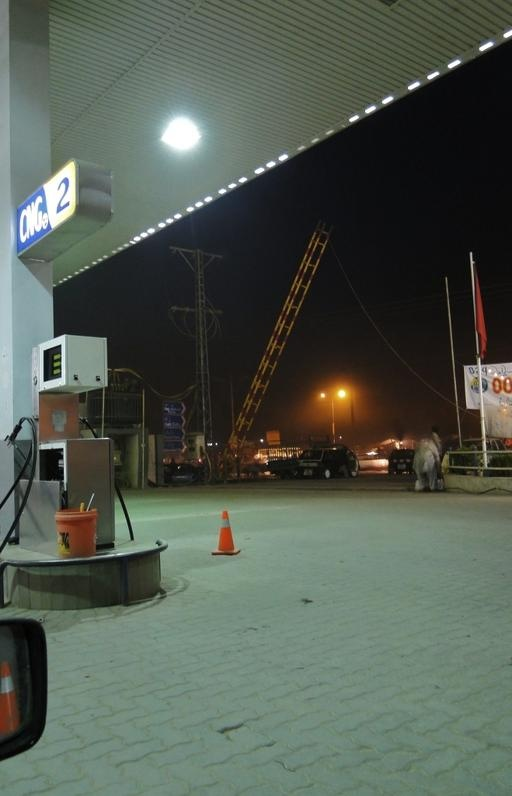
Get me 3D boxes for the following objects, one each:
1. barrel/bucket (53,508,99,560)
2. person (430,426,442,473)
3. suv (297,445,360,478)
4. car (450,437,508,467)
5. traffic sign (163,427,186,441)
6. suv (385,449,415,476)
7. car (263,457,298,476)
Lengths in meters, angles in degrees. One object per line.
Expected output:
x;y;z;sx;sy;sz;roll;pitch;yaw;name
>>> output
-1.575;1.185;5.062;0.370;0.433;0.391;-2;-7;0;barrel/bucket
5.557;1.584;17.537;0.272;1.327;1.516;-3;-6;17;person
4.163;3.562;31.570;4.034;1.720;1.612;4;-8;-43;suv
7.145;1.727;18.067;1.926;1.063;1.148;-3;0;-15;car
-5.726;2.476;39.720;0.613;0.735;1.917;-7;-8;43;traffic sign
9.121;3.989;35.672;1.396;1.569;2.217;-4;-7;20;suv
1.559;4.036;32.655;1.039;1.046;3.055;2;-7;-29;car
